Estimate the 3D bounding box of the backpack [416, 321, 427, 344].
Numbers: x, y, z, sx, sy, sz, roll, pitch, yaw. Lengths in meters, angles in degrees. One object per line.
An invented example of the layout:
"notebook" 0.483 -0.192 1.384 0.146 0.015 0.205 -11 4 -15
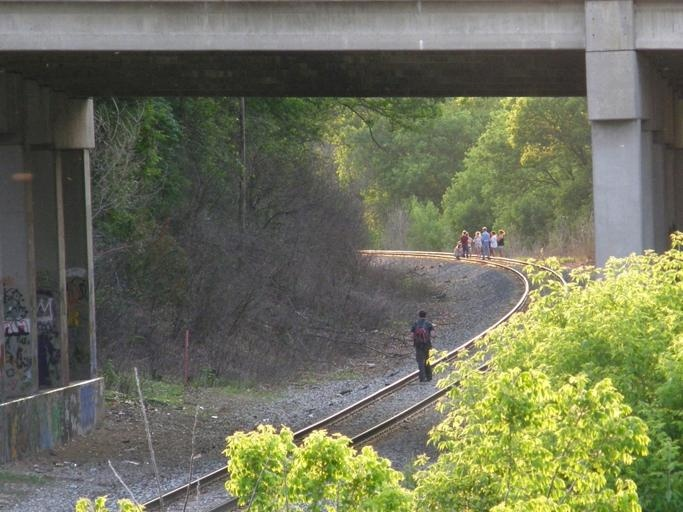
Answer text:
"backpack" 1.943 1.845 38.050 0.413 0.716 0.335 1 -4 1
